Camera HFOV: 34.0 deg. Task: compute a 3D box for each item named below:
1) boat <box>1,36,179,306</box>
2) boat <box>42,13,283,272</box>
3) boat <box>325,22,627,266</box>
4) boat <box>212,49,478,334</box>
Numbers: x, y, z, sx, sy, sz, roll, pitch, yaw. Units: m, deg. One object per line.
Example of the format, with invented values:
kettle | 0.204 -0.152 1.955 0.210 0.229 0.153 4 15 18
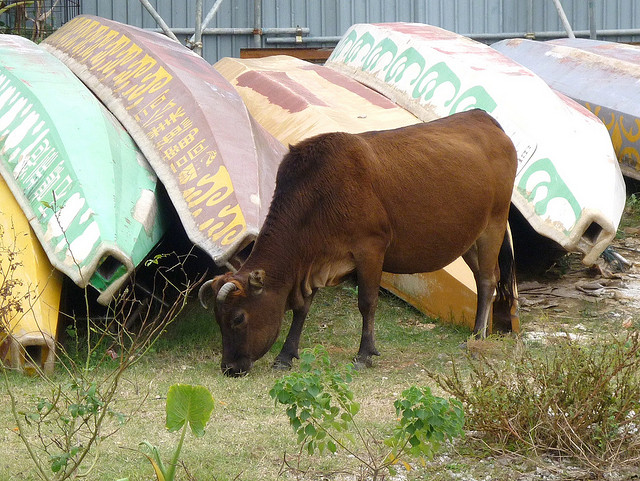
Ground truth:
boat | -2.190 -0.600 9.469 0.978 0.818 3.315 -33 37 1
boat | -1.425 -1.204 10.208 2.902 0.805 1.849 44 34 19
boat | 1.861 -1.326 11.853 1.911 1.215 3.856 -5 34 -38
boat | 0.283 -1.031 11.805 1.323 1.034 5.443 -21 39 -15
